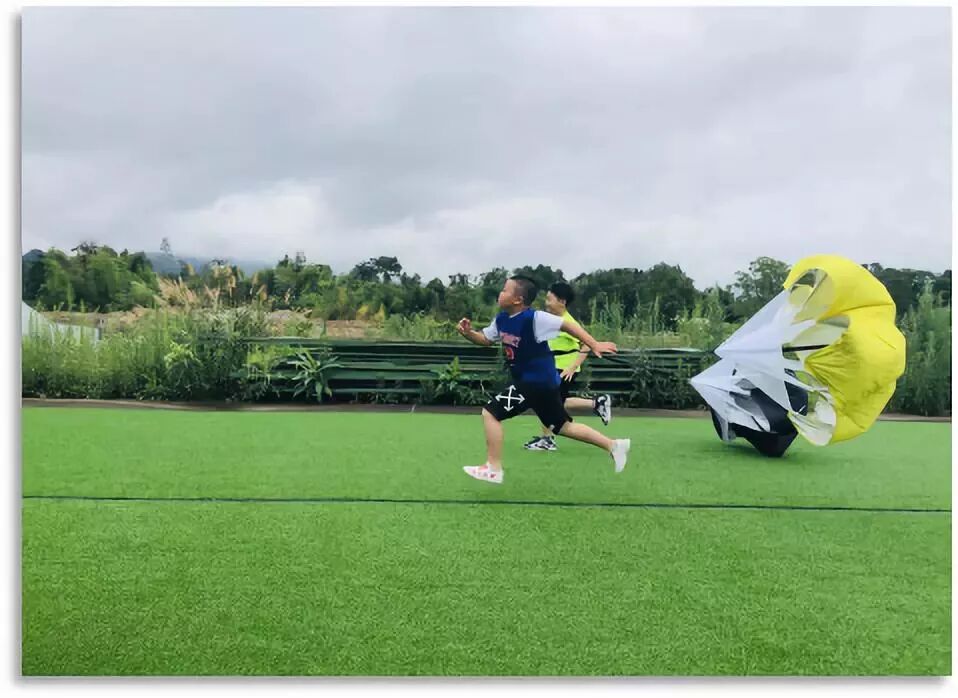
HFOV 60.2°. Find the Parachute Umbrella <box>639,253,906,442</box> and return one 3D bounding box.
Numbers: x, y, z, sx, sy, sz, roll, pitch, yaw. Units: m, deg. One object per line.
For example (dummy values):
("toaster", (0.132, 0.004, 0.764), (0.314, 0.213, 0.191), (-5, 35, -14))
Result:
("Parachute Umbrella", (3.288, 0.028, 9.418), (2.416, 1.840, 1.271), (-8, 15, -3))

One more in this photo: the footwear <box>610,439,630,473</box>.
("footwear", (1.383, 1.087, 8.022), (0.185, 0.408, 0.151), (-2, 19, -4))

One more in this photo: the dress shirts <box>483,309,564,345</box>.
("dress shirts", (0.448, -0.219, 7.904), (0.806, 0.305, 0.156), (4, 7, 30))

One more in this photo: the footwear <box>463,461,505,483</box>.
("footwear", (0.078, 1.175, 7.814), (0.414, 0.179, 0.160), (10, -1, 5))

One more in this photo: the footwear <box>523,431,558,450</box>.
("footwear", (0.692, 1.046, 9.223), (0.361, 0.197, 0.152), (0, -8, 1))
